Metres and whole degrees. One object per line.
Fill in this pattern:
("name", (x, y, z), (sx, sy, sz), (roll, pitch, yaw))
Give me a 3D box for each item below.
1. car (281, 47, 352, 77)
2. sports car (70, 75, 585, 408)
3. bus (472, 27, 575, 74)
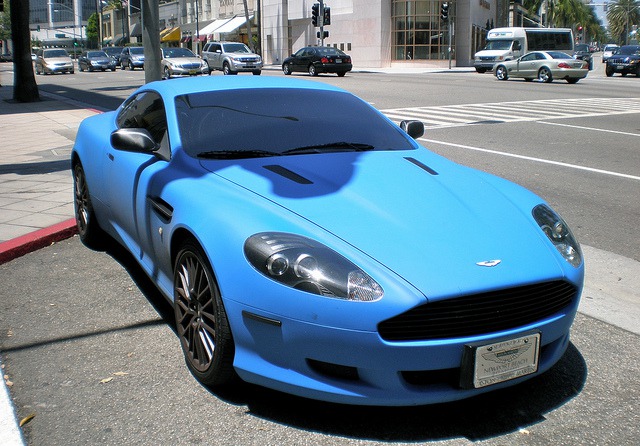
("car", (-0.331, -10.177, 33.391), (1.549, 1.777, 4.361), (-15, 21, -42))
("sports car", (-0.638, -0.415, 5.055), (2.764, 1.540, 5.072), (-13, 22, -39))
("bus", (14.627, -12.748, 37.677), (7.126, 3.558, 4.157), (-4, 18, -15))
